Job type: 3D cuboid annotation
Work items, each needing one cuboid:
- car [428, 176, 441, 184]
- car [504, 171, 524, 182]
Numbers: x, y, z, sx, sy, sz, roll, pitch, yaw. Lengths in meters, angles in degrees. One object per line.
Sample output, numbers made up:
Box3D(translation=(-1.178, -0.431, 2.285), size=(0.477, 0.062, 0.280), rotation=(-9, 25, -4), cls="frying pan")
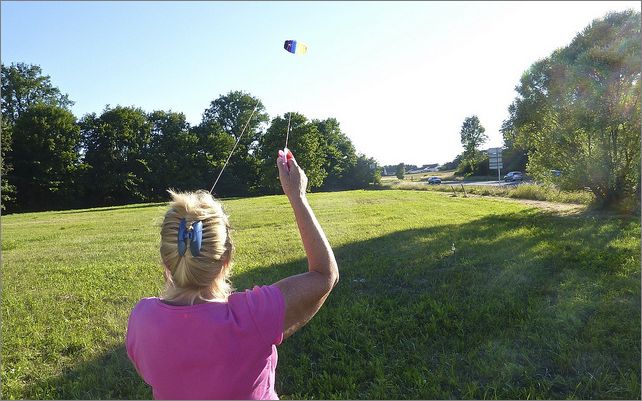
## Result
Box3D(translation=(14.627, -2.635, 60.141), size=(1.178, 1.079, 2.189), rotation=(-3, -4, -5), cls="car")
Box3D(translation=(23.635, -3.090, 56.737), size=(2.705, 1.385, 1.520), rotation=(-2, 0, -30), cls="car")
